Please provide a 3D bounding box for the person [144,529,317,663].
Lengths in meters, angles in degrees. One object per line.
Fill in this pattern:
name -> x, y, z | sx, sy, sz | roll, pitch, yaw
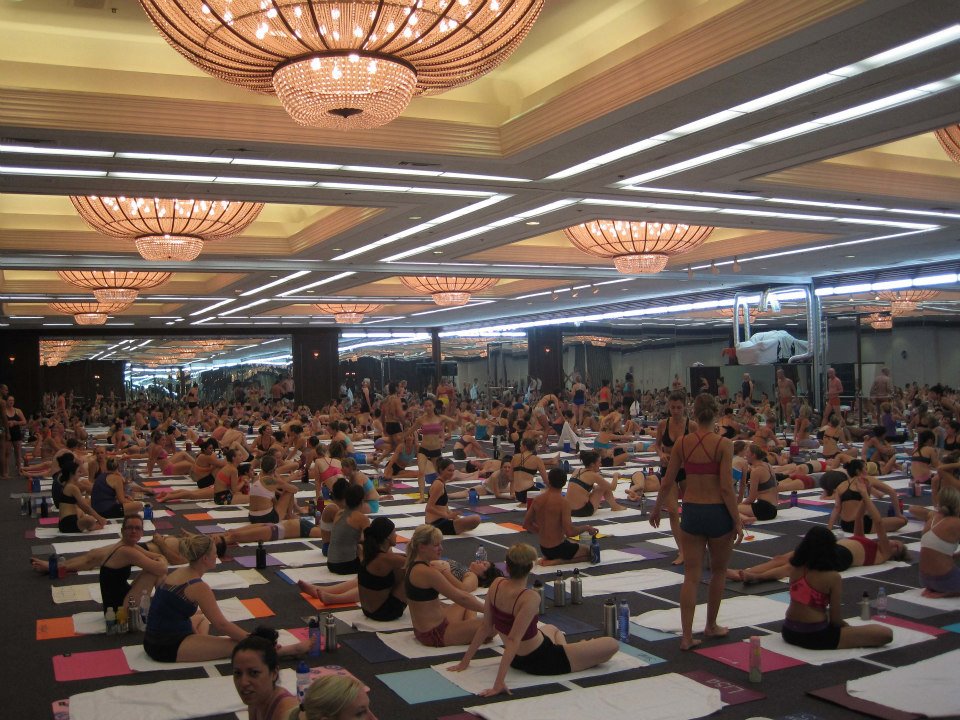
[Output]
person -> -2.394, 2.196, 6.075 | 1.080, 1.002, 1.428 | 0, -11, 40

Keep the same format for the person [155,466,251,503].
person -> -6.109, 2.751, 14.147 | 1.997, 0.802, 0.608 | -6, 15, -19

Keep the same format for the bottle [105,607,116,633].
bottle -> -3.728, 2.612, 6.486 | 0.148, 0.218, 0.056 | -8, -15, 11

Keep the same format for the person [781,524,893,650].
person -> 3.055, 1.957, 5.500 | 0.758, 1.107, 0.560 | 2, 0, 18

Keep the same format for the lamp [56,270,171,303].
lamp -> -9.048, -1.898, 15.862 | 1.517, 0.399, 1.405 | 0, -6, -7

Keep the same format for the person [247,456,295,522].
person -> -3.452, 2.104, 10.592 | 0.709, 1.084, 0.842 | 2, 0, -16

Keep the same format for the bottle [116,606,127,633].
bottle -> -3.613, 2.595, 6.458 | 0.104, 0.241, 0.124 | 2, 0, -27

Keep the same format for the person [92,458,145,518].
person -> -6.831, 2.425, 12.025 | 0.911, 1.072, 0.928 | 8, -15, -31

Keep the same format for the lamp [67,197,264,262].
lamp -> -4.992, -2.159, 10.284 | 1.760, 0.543, 1.631 | 1, -7, -12

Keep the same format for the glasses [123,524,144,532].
glasses -> -3.415, 1.639, 6.338 | 0.104, 0.044, 0.122 | -3, -4, 0

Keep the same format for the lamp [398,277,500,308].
lamp -> -1.035, -2.203, 20.162 | 2.399, 0.870, 1.971 | 3, -1, -45

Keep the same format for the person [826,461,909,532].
person -> 5.249, 1.872, 8.845 | 0.706, 0.991, 0.943 | -15, 2, -32

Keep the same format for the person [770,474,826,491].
person -> 6.558, 2.525, 13.174 | 0.827, 0.268, 0.769 | 0, -2, -17

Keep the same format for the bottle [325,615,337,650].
bottle -> -1.385, 2.506, 5.915 | 0.096, 0.284, 0.135 | 2, 0, -17

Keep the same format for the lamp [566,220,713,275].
lamp -> 3.227, -2.337, 13.291 | 2.631, 1.073, 0.904 | 2, 0, 8

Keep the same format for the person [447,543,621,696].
person -> 0.411, 2.025, 5.309 | 1.096, 1.169, 0.708 | 2, 0, -41

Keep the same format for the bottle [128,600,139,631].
bottle -> -3.509, 2.579, 6.479 | 0.116, 0.261, 0.136 | 2, 0, -40

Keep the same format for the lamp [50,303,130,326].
lamp -> -13.069, -1.601, 21.411 | 2.011, 0.479, 1.906 | -3, -6, 17

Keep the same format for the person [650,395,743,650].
person -> 1.984, 1.422, 5.800 | 0.614, 2.260, 0.691 | 2, 0, -9

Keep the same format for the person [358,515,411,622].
person -> -0.982, 2.092, 6.494 | 0.502, 1.068, 0.731 | 2, 0, -8
